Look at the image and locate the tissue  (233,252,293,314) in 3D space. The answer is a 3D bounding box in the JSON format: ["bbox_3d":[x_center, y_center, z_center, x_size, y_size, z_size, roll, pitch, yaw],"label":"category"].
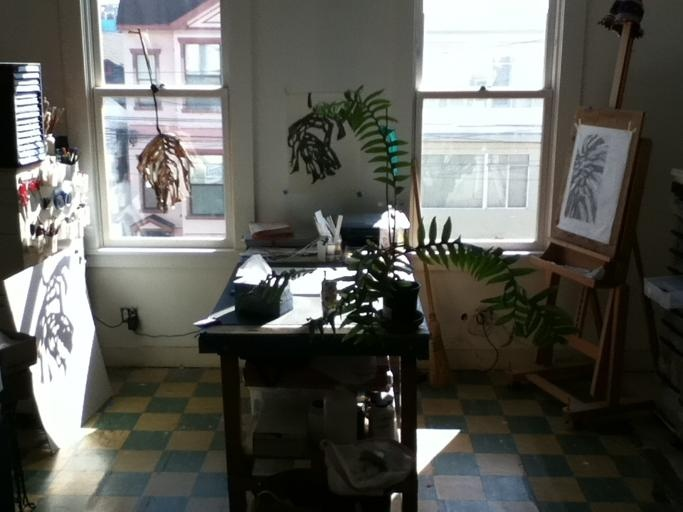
[{"bbox_3d":[-0.410,0.117,2.827,0.231,0.107,0.305,0,21,-4],"label":"tissue "}]

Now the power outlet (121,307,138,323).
[{"bbox_3d":[-1.565,0.430,4.095,0.126,0.123,0.093,-1,4,-16],"label":"power outlet"}]

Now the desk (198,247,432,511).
[{"bbox_3d":[-0.133,0.685,2.668,0.949,0.934,0.922,0,8,1],"label":"desk"}]
